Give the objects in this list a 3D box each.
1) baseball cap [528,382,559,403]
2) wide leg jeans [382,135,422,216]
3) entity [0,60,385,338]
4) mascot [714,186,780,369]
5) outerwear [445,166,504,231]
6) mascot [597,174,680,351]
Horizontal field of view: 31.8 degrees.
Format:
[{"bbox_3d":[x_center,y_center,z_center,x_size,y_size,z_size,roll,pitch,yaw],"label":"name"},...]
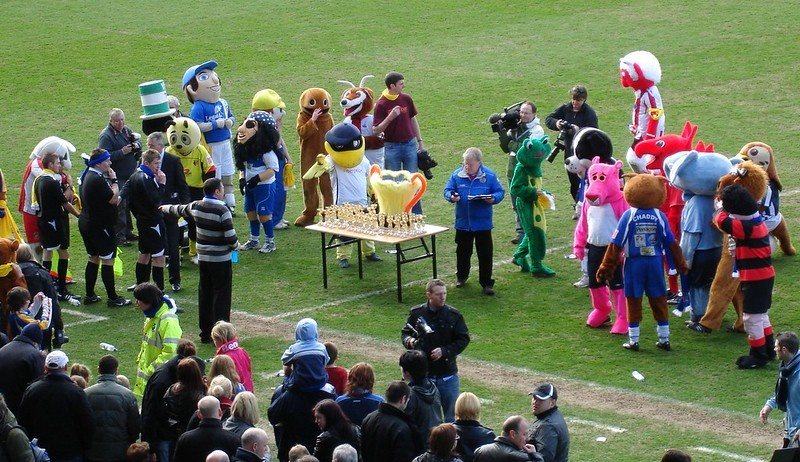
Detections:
[{"bbox_3d":[2.450,2.677,23.507,0.396,0.175,0.250,3,0,-16],"label":"baseball cap"},{"bbox_3d":[0.052,-1.496,31.192,0.711,1.432,0.390,-11,44,-9],"label":"wide leg jeans"},{"bbox_3d":[-4.360,-0.477,29.888,7.087,3.630,1.794,-11,18,-30],"label":"entity"},{"bbox_3d":[6.559,0.855,26.310,0.881,3.362,0.824,-5,13,-11],"label":"mascot"},{"bbox_3d":[1.546,-0.607,28.946,1.607,1.321,0.875,2,6,18],"label":"outerwear"},{"bbox_3d":[4.686,0.625,26.831,1.530,3.274,0.693,-1,13,8],"label":"mascot"}]
